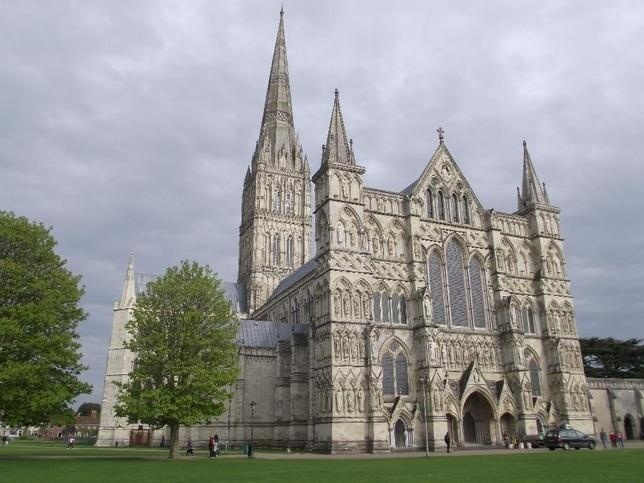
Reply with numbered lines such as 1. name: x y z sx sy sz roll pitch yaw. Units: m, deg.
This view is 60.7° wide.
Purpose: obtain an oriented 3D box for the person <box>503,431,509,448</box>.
1. person: 17.235 18.457 51.627 0.503 1.516 2.614 -7 -24 16

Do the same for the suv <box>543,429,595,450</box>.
1. suv: 20.601 16.445 46.075 4.081 1.668 0.992 6 -24 -14
